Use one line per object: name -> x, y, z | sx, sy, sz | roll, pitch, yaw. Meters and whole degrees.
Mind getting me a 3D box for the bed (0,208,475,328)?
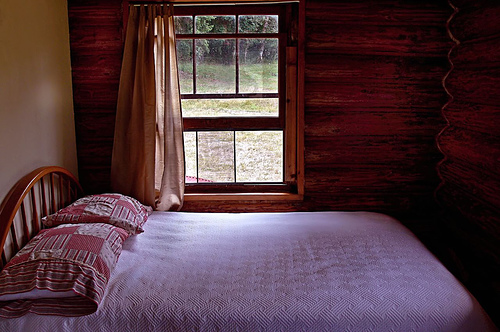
bed -> 0.221, 0.732, 2.431 | 2.006, 0.285, 0.964 | 1, 18, 3
